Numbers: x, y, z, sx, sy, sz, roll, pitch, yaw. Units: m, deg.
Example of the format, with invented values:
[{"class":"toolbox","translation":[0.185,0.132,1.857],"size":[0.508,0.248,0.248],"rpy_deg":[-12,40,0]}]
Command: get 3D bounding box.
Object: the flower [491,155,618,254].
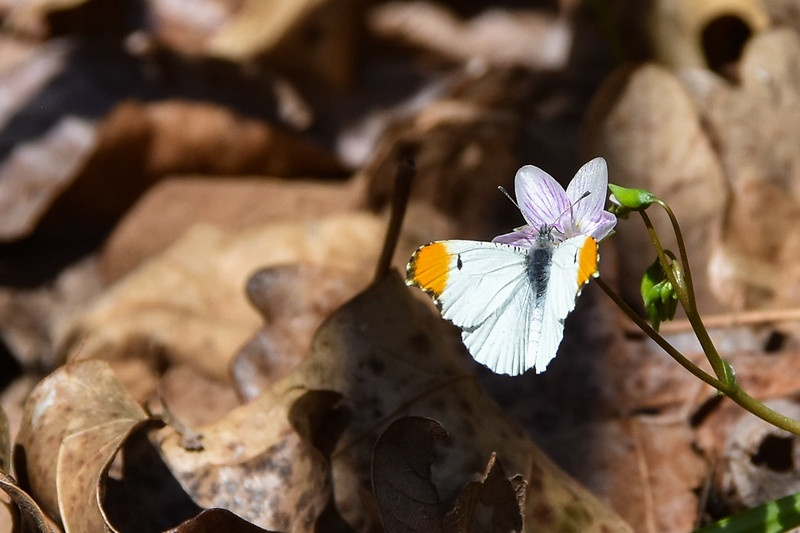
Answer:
[{"class":"flower","translation":[0.377,-0.098,2.201],"size":[0.219,0.315,0.151],"rpy_deg":[8,61,-19]}]
